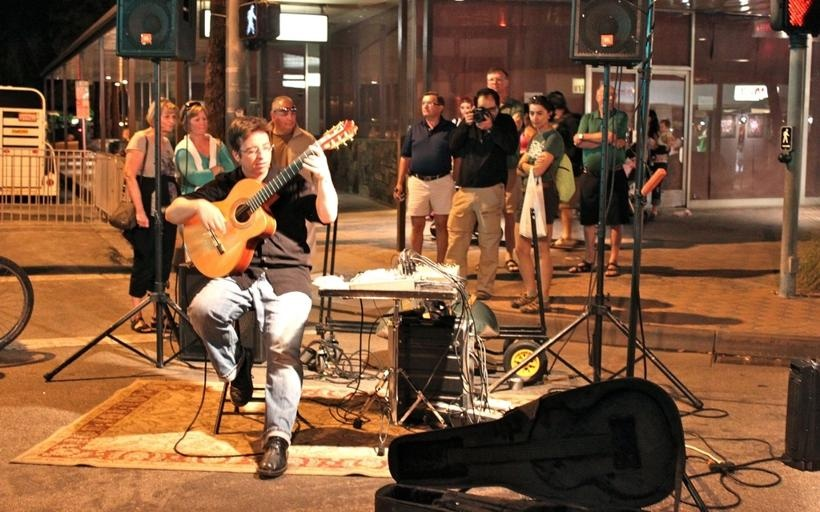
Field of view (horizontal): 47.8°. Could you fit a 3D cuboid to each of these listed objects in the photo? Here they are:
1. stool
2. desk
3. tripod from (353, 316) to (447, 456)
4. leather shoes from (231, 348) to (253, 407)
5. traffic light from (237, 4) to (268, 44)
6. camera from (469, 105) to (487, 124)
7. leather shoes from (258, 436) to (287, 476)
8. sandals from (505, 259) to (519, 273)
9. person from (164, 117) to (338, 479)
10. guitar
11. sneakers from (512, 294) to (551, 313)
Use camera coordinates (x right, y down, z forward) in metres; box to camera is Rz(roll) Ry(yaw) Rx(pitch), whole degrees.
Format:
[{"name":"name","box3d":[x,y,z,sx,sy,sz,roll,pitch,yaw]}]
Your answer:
[{"name":"stool","box3d":[-1.447,1.173,9.655,0.883,1.681,0.877,0,4,1]},{"name":"desk","box3d":[-0.104,0.960,9.052,1.271,1.343,1.332,1,5,10]},{"name":"tripod","box3d":[-0.082,1.278,8.903,0.900,1.436,0.992,-4,10,-31]},{"name":"leather shoes","box3d":[-1.609,1.173,9.042,0.198,0.573,0.238,4,21,15]},{"name":"traffic light","box3d":[-2.205,-3.272,12.958,0.200,0.533,0.470,-2,8,-41]},{"name":"camera","box3d":[0.871,-1.804,11.834,0.181,0.181,0.189,1,15,9]},{"name":"leather shoes","box3d":[-1.246,1.806,8.365,0.271,0.350,0.230,2,6,-10]},{"name":"sandals","box3d":[1.501,0.155,13.770,0.150,0.136,0.433,-2,8,0]},{"name":"person","box3d":[-1.466,0.302,8.784,1.312,3.205,0.903,6,7,30]},{"name":"guitar","box3d":[-1.531,-0.601,9.735,2.215,0.907,0.257,-37,-19,3]},{"name":"sneakers","box3d":[1.527,0.597,11.476,0.388,0.152,0.273,2,3,-5]}]
